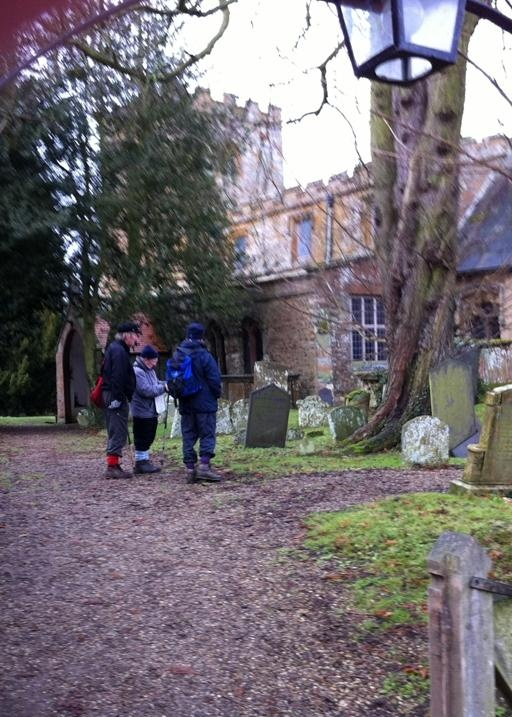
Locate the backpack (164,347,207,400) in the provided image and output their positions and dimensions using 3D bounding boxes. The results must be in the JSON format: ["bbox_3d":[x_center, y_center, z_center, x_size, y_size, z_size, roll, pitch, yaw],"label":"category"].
[{"bbox_3d":[-0.849,0.175,7.089,0.446,0.610,0.241,1,-3,13],"label":"backpack"}]

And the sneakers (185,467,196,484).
[{"bbox_3d":[-0.730,1.337,7.072,0.130,0.166,0.302,3,-3,-6],"label":"sneakers"}]

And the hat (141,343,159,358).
[{"bbox_3d":[-1.381,-0.081,7.979,0.203,0.192,0.351,3,-4,-16],"label":"hat"}]

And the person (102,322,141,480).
[{"bbox_3d":[-1.666,0.519,7.467,0.429,1.926,0.611,3,-3,-14],"label":"person"}]

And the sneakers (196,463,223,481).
[{"bbox_3d":[-0.533,1.315,7.106,0.312,0.195,0.244,1,-3,12],"label":"sneakers"}]

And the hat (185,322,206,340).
[{"bbox_3d":[-0.718,-0.316,7.391,0.170,0.179,0.229,3,0,-9],"label":"hat"}]
